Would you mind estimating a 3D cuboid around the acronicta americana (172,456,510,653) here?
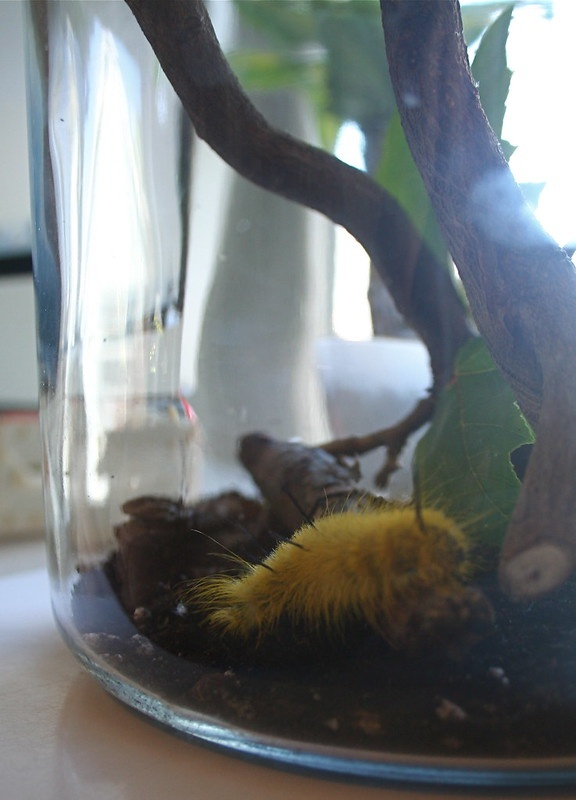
[{"bbox_3d":[0.014,0.056,0.362,0.090,0.036,0.072,5,35,34],"label":"acronicta americana"}]
